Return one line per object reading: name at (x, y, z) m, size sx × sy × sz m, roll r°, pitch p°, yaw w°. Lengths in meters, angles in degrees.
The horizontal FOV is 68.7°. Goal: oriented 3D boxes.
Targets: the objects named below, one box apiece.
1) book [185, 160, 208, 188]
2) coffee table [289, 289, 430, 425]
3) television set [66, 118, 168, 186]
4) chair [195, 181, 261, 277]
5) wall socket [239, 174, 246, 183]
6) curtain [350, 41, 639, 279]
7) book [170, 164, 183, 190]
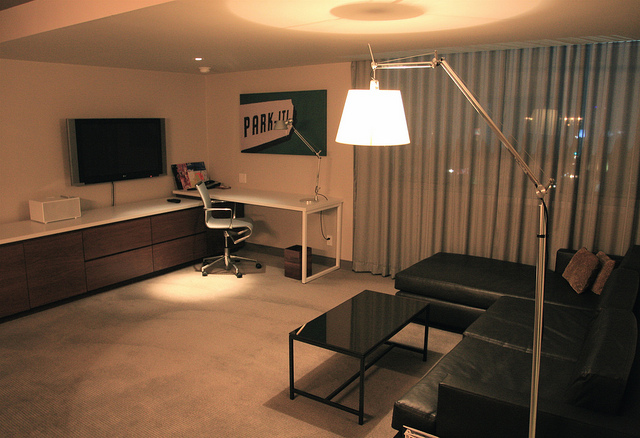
book at (-1.826, -0.647, 6.875) m, size 0.051 × 0.331 × 0.448 m, roll -12°, pitch 13°, yaw 24°
coffee table at (0.399, 1.127, 4.135) m, size 0.748 × 0.579 × 1.286 m, roll 6°, pitch 12°, yaw 35°
television set at (-2.657, -0.870, 6.011) m, size 0.129 × 0.597 × 0.954 m, roll 11°, pitch 16°, yaw 33°
chair at (-1.242, 0.139, 6.456) m, size 0.941 × 1.159 × 0.931 m, roll 2°, pitch 9°, yaw 2°
wall socket at (-1.156, -0.610, 6.989) m, size 0.134 × 0.125 × 0.013 m, roll 12°, pitch 27°, yaw 28°
curtain at (1.942, -0.667, 4.857) m, size 2.807 × 2.233 × 0.183 m, roll 4°, pitch 11°, yaw 26°
book at (-2.064, -0.601, 6.770) m, size 0.102 × 0.361 × 0.079 m, roll -15°, pitch 18°, yaw -31°
